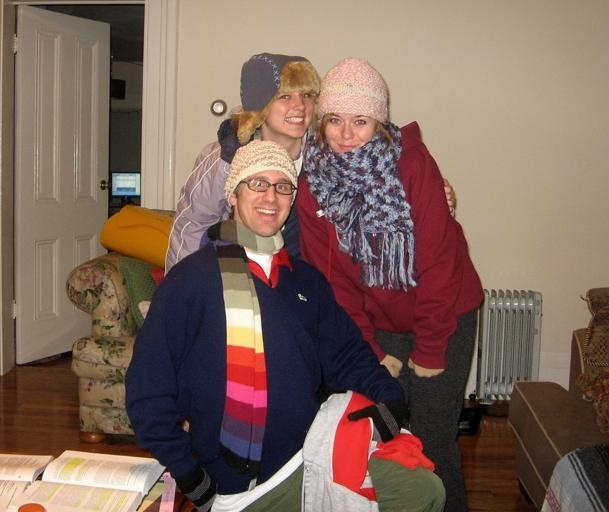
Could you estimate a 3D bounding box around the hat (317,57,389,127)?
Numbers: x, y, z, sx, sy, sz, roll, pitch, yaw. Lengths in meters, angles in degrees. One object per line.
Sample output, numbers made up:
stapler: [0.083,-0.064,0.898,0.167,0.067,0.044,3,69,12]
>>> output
hat: [0.163,-0.593,2.060,0.256,0.201,0.259,13,17,34]

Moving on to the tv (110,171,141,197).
tv: [-1.483,-0.584,4.748,0.275,0.247,0.030,-3,-12,-4]

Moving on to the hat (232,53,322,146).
hat: [-0.103,-0.592,2.255,0.327,0.340,0.285,22,16,30]

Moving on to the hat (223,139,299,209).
hat: [-0.162,-0.288,1.969,0.247,0.229,0.256,3,-10,27]

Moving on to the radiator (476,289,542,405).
radiator: [1.254,0.511,3.610,0.408,0.757,0.280,3,0,1]

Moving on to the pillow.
pillow: [-0.811,0.066,3.189,0.558,0.614,0.228,9,1,24]
